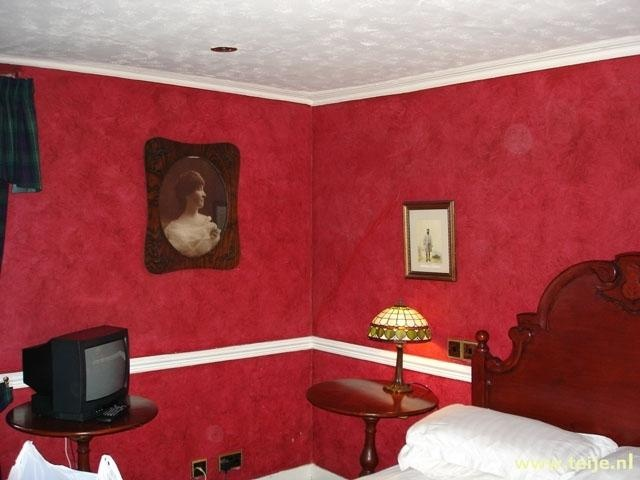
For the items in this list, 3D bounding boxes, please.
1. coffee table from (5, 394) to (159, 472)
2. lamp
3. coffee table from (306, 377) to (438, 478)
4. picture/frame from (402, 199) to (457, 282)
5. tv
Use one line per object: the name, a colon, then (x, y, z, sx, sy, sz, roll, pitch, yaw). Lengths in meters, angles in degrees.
coffee table: (-1.344, 1.034, 3.084, 0.556, 0.375, 0.548, 2, 6, 2)
lamp: (0.516, 0.676, 3.604, 0.547, 0.663, 0.538, 1, 1, -4)
coffee table: (0.321, 1.048, 3.529, 0.692, 0.475, 0.678, -4, 7, -43)
picture/frame: (0.788, -0.008, 3.772, 0.050, 0.719, 0.600, -2, 1, -43)
tv: (-1.499, 0.759, 3.357, 0.513, 0.524, 0.527, 1, 1, 18)
